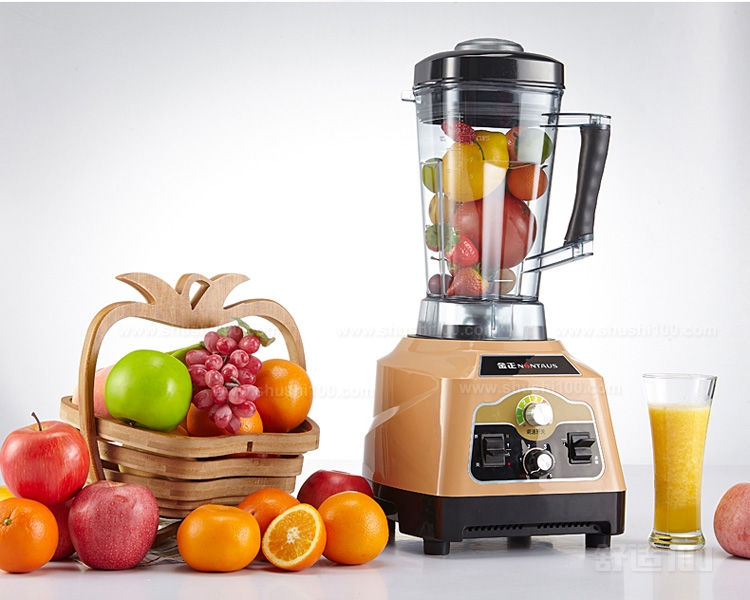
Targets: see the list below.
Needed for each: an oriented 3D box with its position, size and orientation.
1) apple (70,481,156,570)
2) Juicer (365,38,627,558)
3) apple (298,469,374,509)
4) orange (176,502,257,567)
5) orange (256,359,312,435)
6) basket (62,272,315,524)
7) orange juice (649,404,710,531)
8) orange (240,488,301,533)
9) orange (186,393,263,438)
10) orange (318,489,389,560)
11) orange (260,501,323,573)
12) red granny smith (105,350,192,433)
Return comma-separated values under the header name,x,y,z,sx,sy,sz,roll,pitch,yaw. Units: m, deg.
name,x,y,z,sx,sy,sz,roll,pitch,yaw
apple,-0.270,0.239,0.824,0.098,0.082,0.094,1,0,10
Juicer,0.157,-0.013,0.999,0.319,0.662,0.264,2,0,-5
apple,-0.056,0.235,0.939,0.060,0.048,0.057,0,0,-35
orange,-0.164,0.250,0.777,0.080,0.052,0.070,0,-7,0
orange,-0.118,0.122,0.950,0.099,0.099,0.091,-3,-3,-6
basket,-0.253,0.124,0.981,0.330,0.311,0.293,9,7,27
orange juice,0.363,0.206,0.894,0.062,0.155,0.034,2,0,21
orange,-0.117,0.235,0.842,0.054,0.046,0.048,3,-13,13
orange,-0.193,0.147,0.932,0.066,0.032,0.061,4,-8,19
orange,-0.031,0.255,0.868,0.085,0.068,0.074,-3,-6,-7
orange,-0.080,0.264,0.823,0.075,0.071,0.044,6,-25,45
red granny smith,-0.264,0.109,0.862,0.077,0.067,0.071,20,-29,26
